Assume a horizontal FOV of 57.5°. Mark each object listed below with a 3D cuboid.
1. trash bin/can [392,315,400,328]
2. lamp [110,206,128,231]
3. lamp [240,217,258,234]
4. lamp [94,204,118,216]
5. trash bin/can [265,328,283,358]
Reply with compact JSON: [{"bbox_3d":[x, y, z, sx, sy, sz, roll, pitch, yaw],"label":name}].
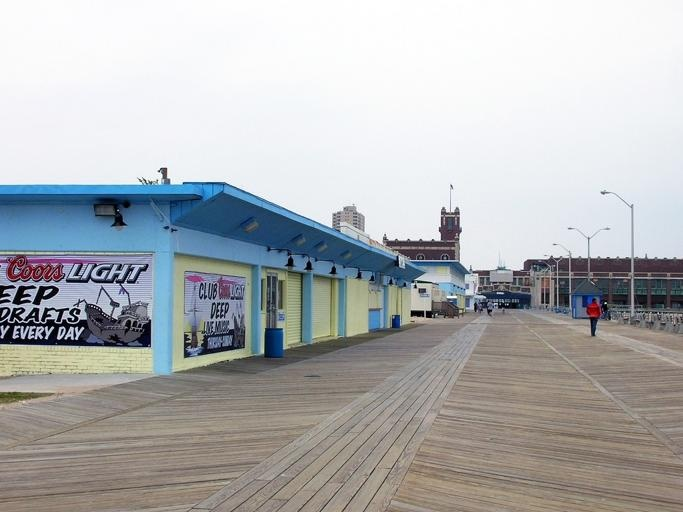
[{"bbox_3d":[3.583,4.158,40.994,0.724,0.797,0.706,4,-4,-27],"label":"trash bin/can"},{"bbox_3d":[-5.678,-1.032,15.796,0.495,0.695,0.491,-1,-4,-3],"label":"lamp"},{"bbox_3d":[-2.759,-1.003,18.735,0.442,0.441,0.168,-28,11,9],"label":"lamp"},{"bbox_3d":[-5.993,-1.207,15.770,0.530,0.284,0.334,-1,3,2],"label":"lamp"},{"bbox_3d":[-2.029,2.770,20.236,0.773,0.880,0.797,0,-7,-4],"label":"trash bin/can"}]
